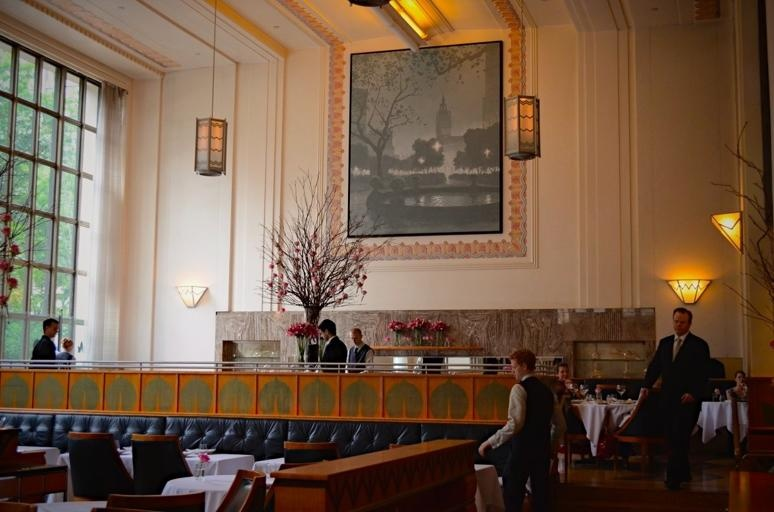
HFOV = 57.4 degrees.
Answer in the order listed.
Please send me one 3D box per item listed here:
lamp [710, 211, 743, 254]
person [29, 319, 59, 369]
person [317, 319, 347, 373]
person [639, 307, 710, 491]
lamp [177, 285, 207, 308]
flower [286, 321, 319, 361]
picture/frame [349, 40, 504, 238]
[{"bbox_3d":[5.781,-0.426,11.955,0.421,0.650,0.420,-5,-5,26],"label":"lamp"},{"bbox_3d":[-5.826,1.452,12.028,0.371,0.777,2.950,0,-5,-25],"label":"person"},{"bbox_3d":[-0.798,1.298,10.366,0.377,0.745,1.097,-2,-5,-6],"label":"person"},{"bbox_3d":[3.605,1.888,8.684,0.761,1.928,0.205,-4,-5,19],"label":"person"},{"bbox_3d":[-4.153,0.848,14.973,0.713,0.499,0.160,-4,-5,17],"label":"lamp"},{"bbox_3d":[-1.138,1.205,10.033,0.492,0.598,0.511,-6,-7,31],"label":"flower"},{"bbox_3d":[0.904,-2.255,14.190,3.923,4.711,0.175,0,-2,18],"label":"picture/frame"}]
